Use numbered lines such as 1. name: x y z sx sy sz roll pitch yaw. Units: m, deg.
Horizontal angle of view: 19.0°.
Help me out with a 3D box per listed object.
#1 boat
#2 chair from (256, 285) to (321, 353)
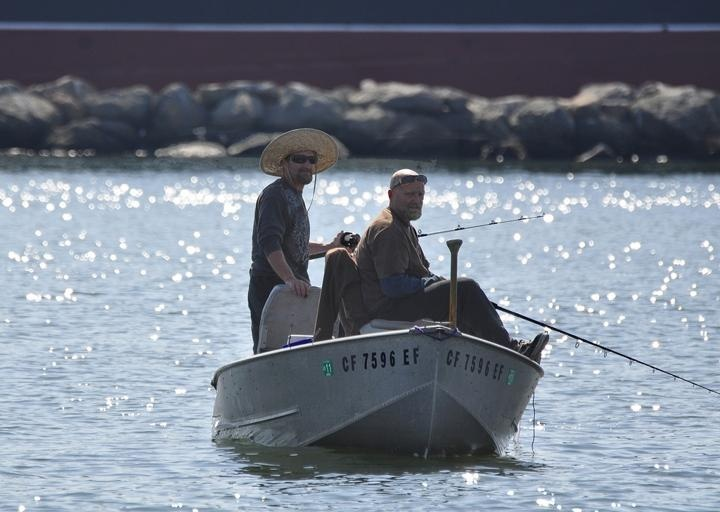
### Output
1. boat: -0.272 4.288 71.918 8.220 4.434 7.762 -3 10 -23
2. chair: -2.379 1.998 70.987 1.912 2.141 2.115 -7 10 -36
